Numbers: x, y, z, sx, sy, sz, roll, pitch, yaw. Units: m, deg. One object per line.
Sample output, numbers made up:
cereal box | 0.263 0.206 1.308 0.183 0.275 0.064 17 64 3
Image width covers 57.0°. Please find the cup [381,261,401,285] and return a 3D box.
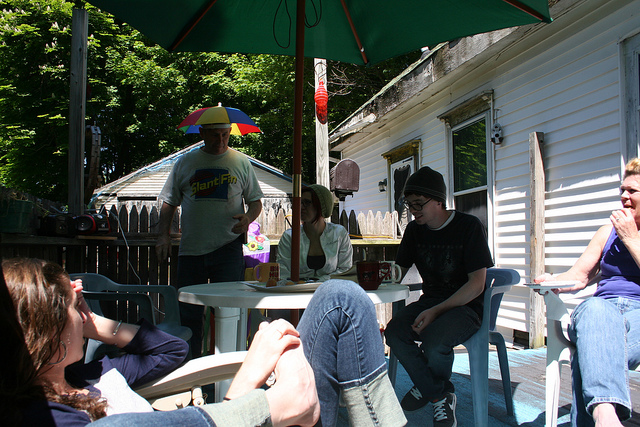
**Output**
cup | 0.607 0.520 5.147 0.092 0.208 0.336 -3 -9 31

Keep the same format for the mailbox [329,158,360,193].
mailbox | 0.355 -0.590 10.585 0.475 0.696 0.692 6 -8 -21

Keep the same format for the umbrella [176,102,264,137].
umbrella | -1.062 -1.106 6.877 0.772 0.292 0.810 0 -7 -28

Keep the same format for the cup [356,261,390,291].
cup | 0.457 0.514 4.916 0.294 0.244 0.206 -2 -1 27

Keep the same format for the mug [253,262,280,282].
mug | -0.456 0.502 5.051 0.199 0.158 0.132 -4 -5 2

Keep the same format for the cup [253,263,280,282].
cup | -0.453 0.504 5.041 0.193 0.154 0.129 -5 -7 7
